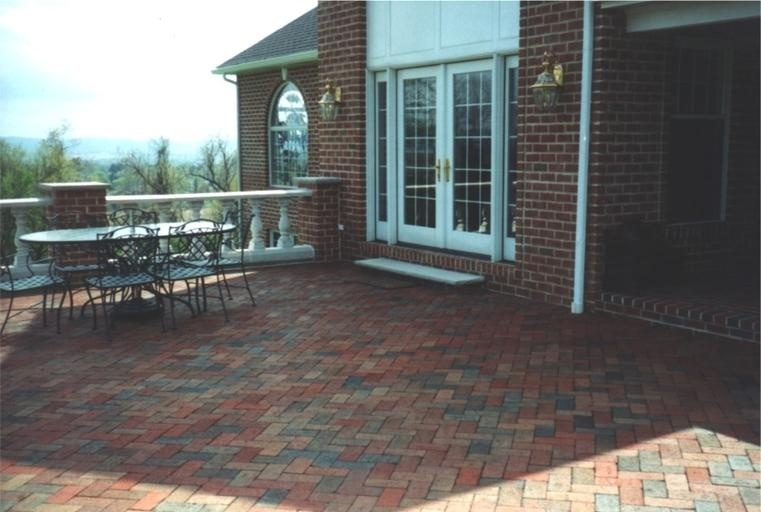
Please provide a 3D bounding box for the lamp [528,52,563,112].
[{"bbox_3d":[2.201,-2.354,7.645,0.322,0.782,0.467,-6,16,-18],"label":"lamp"}]

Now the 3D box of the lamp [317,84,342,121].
[{"bbox_3d":[-0.985,-3.005,11.037,0.338,0.716,0.518,-15,20,-41],"label":"lamp"}]
